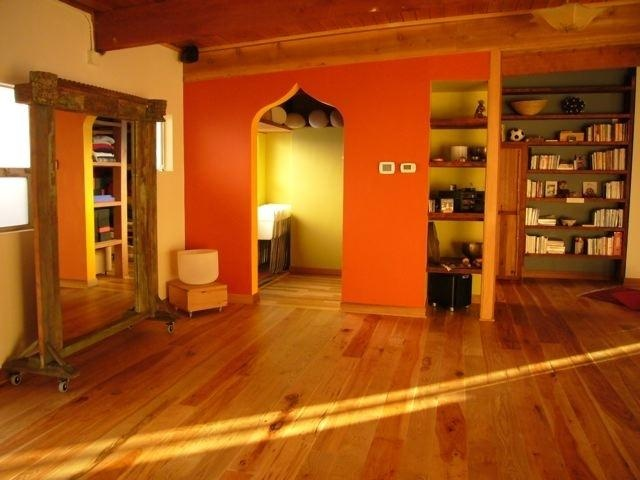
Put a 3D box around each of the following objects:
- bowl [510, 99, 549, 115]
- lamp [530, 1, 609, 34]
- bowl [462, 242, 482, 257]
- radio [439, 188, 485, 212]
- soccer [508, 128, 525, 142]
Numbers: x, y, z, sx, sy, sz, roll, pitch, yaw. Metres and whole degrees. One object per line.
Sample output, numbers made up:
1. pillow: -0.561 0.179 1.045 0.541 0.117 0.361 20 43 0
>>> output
1. bowl: 3.156 -2.026 7.338 0.364 0.130 0.353 -1 4 0
2. lamp: 2.251 -2.015 4.347 0.461 0.128 0.435 -10 14 -41
3. bowl: 1.843 0.109 5.903 0.208 0.121 0.176 -2 4 -28
4. radio: 1.682 -0.475 5.646 0.481 0.221 0.316 -2 2 -31
5. soccer: 2.983 -1.613 7.383 0.180 0.182 0.179 39 -13 31
